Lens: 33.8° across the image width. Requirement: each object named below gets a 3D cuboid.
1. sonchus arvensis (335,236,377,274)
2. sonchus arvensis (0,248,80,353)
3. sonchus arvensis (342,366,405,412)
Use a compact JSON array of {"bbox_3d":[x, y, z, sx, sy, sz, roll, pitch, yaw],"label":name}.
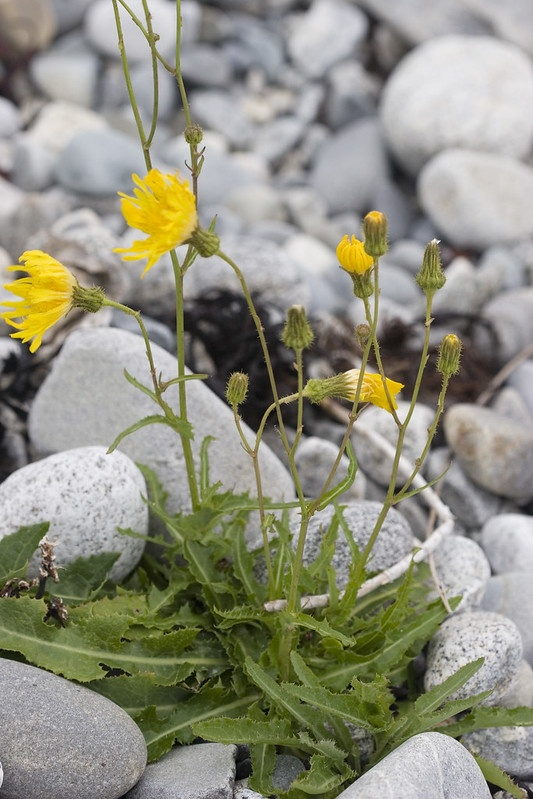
[{"bbox_3d":[0.098,-0.159,0.973,0.027,0.045,0.038,-32,-1,23],"label":"sonchus arvensis"},{"bbox_3d":[-0.264,-0.114,1.074,0.084,0.114,0.133,4,-14,-11],"label":"sonchus arvensis"},{"bbox_3d":[0.133,-0.008,1.046,0.078,0.041,0.031,14,39,-11],"label":"sonchus arvensis"}]
